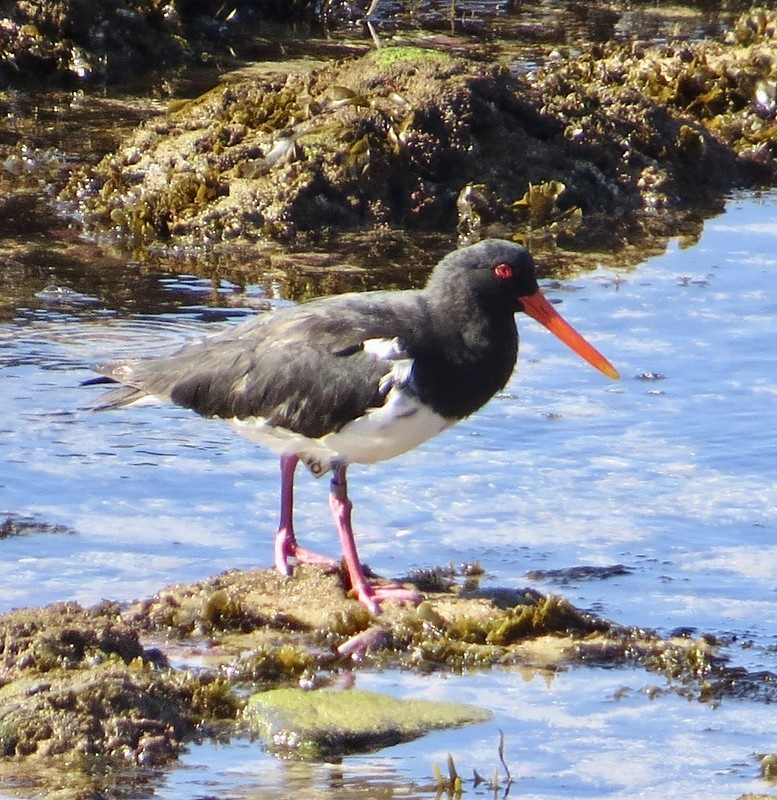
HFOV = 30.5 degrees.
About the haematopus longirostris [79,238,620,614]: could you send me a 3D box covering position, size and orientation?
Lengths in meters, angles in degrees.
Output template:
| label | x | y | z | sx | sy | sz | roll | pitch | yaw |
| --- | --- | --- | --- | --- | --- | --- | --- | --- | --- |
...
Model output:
| label | x | y | z | sx | sy | sz | roll | pitch | yaw |
| --- | --- | --- | --- | --- | --- | --- | --- | --- | --- |
| haematopus longirostris | -0.154 | -0.125 | 8.550 | 3.864 | 1.947 | 1.721 | 0 | 15 | 1 |
